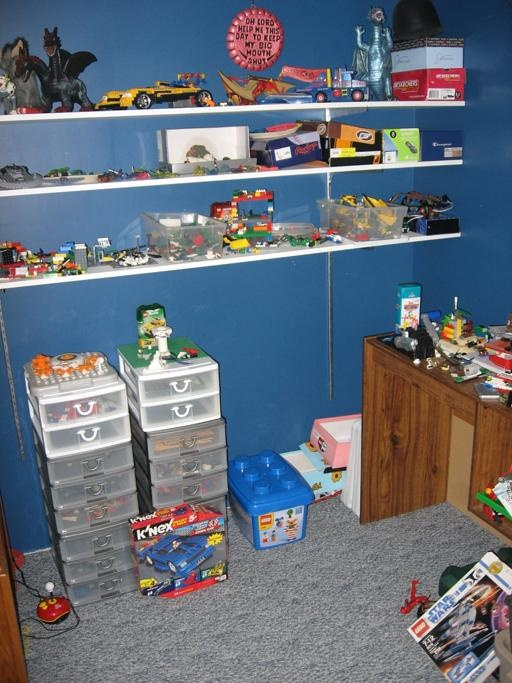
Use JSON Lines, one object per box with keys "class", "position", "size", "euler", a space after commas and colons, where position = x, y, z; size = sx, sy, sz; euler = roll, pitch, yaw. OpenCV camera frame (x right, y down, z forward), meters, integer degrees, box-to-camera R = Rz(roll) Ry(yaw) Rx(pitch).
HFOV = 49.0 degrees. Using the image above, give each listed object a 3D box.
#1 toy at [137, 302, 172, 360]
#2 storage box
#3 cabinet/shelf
{"class": "toy", "position": [-0.396, -0.050, 2.142], "size": [0.103, 0.171, 0.065], "euler": [-7, 15, -22]}
{"class": "storage box", "position": [-0.271, 0.529, 2.131], "size": [0.820, 0.657, 0.407], "euler": [-10, 24, -21]}
{"class": "cabinet/shelf", "position": [-0.083, -0.592, 2.052], "size": [1.660, 0.502, 0.452], "euler": [-11, 20, -17]}
